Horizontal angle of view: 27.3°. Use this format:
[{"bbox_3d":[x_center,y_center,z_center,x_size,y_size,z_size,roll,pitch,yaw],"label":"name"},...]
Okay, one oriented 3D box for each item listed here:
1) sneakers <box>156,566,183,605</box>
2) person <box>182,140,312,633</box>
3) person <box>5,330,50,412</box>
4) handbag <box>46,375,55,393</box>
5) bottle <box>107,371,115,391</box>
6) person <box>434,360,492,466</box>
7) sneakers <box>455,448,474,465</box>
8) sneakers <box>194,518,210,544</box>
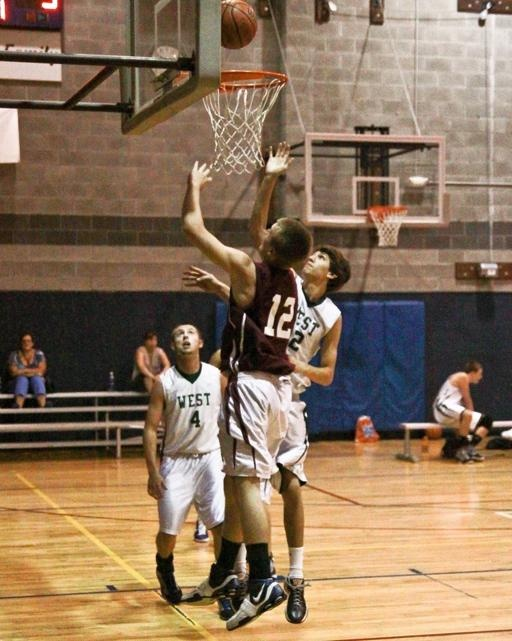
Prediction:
[{"bbox_3d":[-0.433,1.327,5.258,0.090,0.257,0.107,-3,-9,-34],"label":"sneakers"},{"bbox_3d":[-0.053,0.307,4.537,0.542,1.950,0.507,1,1,5],"label":"person"},{"bbox_3d":[-2.350,0.556,10.867,0.444,0.999,0.730,0,-29,-20],"label":"person"},{"bbox_3d":[-2.174,0.680,11.106,0.110,0.165,0.171,0,-32,1],"label":"handbag"},{"bbox_3d":[-1.580,0.665,11.488,0.083,0.203,0.129,1,1,-9],"label":"bottle"},{"bbox_3d":[2.128,0.919,10.678,0.490,0.958,0.636,1,1,-13],"label":"person"},{"bbox_3d":[2.068,1.334,10.407,0.160,0.138,0.137,1,1,10],"label":"sneakers"},{"bbox_3d":[-0.352,1.374,6.885,0.122,0.156,0.342,2,-8,-10],"label":"sneakers"}]
